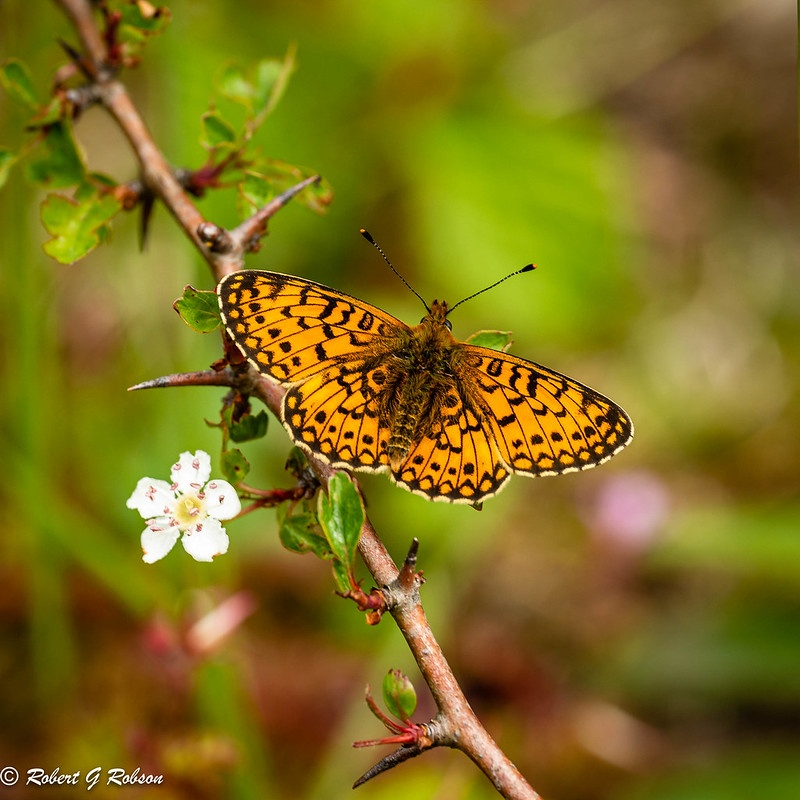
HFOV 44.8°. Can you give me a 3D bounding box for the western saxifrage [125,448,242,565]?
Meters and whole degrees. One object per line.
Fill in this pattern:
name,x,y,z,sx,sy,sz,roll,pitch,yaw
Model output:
western saxifrage,-0.852,0.436,4.032,0.391,0.177,0.460,-13,-104,2
